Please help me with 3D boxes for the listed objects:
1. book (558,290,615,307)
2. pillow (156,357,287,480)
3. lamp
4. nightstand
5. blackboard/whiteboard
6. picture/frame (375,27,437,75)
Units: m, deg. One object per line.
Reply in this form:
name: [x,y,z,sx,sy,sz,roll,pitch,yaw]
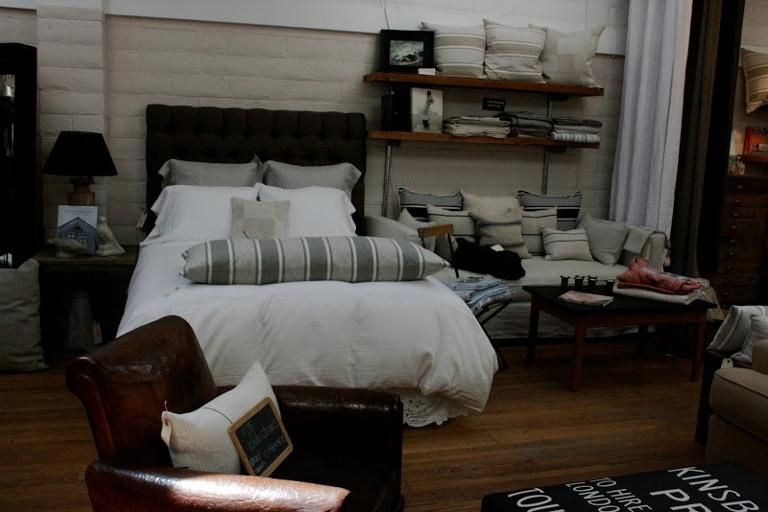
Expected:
book: [1.471,0.305,4.395,0.351,0.052,0.318,4,9,35]
pillow: [-0.682,0.693,2.512,0.172,0.298,0.515,-23,0,25]
lamp: [-2.300,-0.683,4.791,0.673,0.606,0.621,2,7,18]
nightstand: [-2.405,0.405,4.844,1.028,0.840,0.948,-1,2,-16]
blackboard/whiteboard: [-0.527,0.769,2.536,0.022,0.253,0.301,-21,13,33]
picture/frame: [0.215,-1.772,5.219,0.609,0.358,0.042,0,4,-8]
